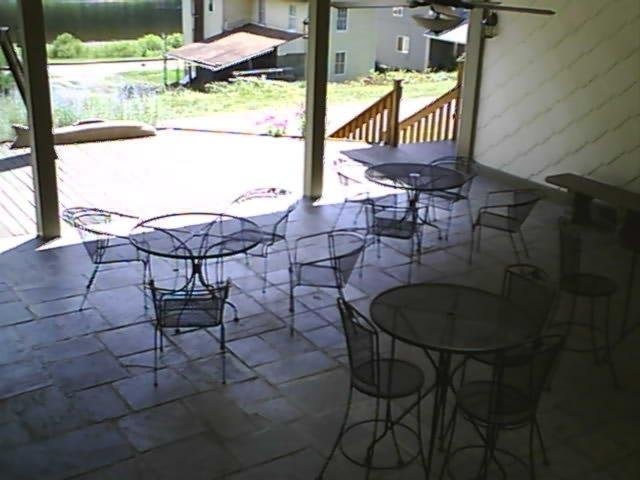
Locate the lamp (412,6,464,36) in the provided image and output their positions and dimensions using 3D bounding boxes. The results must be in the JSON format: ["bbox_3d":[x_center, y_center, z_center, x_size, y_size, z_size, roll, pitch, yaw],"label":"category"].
[{"bbox_3d":[1.064,-2.020,5.394,0.271,0.131,0.285,-26,44,-36],"label":"lamp"}]
